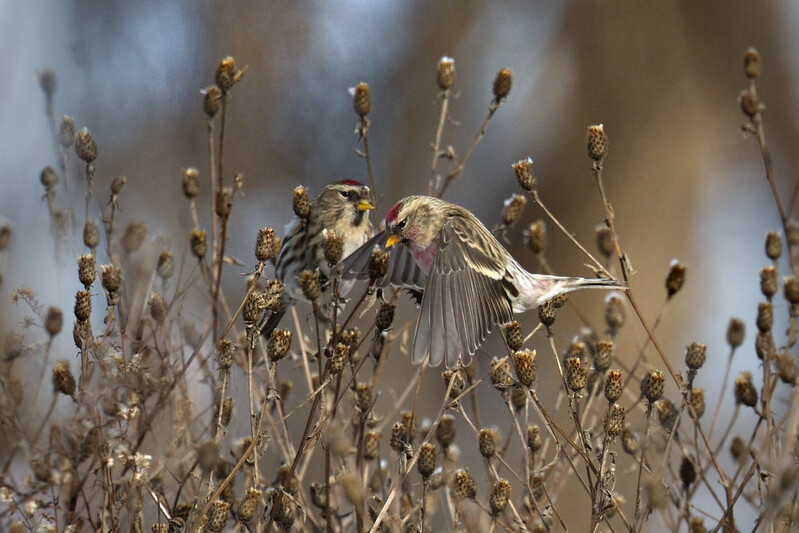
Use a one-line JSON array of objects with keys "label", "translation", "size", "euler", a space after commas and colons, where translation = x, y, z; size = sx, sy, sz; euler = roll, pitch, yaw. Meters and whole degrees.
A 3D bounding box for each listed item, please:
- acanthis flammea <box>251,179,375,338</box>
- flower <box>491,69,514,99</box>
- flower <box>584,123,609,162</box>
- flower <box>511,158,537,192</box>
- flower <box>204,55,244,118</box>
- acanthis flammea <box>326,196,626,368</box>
[{"label": "acanthis flammea", "translation": [-0.411, -0.045, 5.852], "size": [0.775, 0.799, 0.482], "euler": [-10, -22, 17]}, {"label": "flower", "translation": [0.496, -0.872, 5.213], "size": [0.085, 0.180, 0.132], "euler": [5, -14, 0]}, {"label": "flower", "translation": [0.908, -0.562, 4.978], "size": [0.079, 0.178, 0.098], "euler": [-7, 15, -7]}, {"label": "flower", "translation": [0.584, -0.426, 5.095], "size": [0.103, 0.119, 0.190], "euler": [-7, -14, 26]}, {"label": "flower", "translation": [-0.811, -0.834, 5.010], "size": [0.127, 0.291, 0.253], "euler": [11, -15, -24]}, {"label": "acanthis flammea", "translation": [0.325, 0.041, 5.148], "size": [0.929, 0.513, 0.901], "euler": [-3, 3, -6]}]
